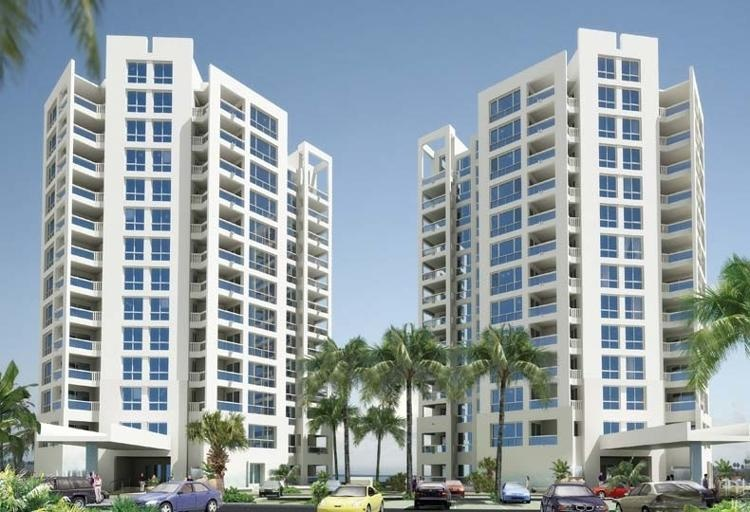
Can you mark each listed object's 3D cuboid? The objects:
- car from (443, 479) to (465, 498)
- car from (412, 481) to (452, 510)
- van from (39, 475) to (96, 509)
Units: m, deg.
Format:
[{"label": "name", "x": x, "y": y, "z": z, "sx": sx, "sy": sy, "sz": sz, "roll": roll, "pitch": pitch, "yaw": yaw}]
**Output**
[{"label": "car", "x": 8.364, "y": 23.801, "z": 94.879, "sx": 2.105, "sy": 1.833, "sz": 5.329, "roll": -1, "pitch": -15, "yaw": 4}, {"label": "car", "x": 4.694, "y": 19.954, "z": 76.175, "sx": 2.824, "sy": 2.370, "sz": 2.614, "roll": -1, "pitch": -19, "yaw": 1}, {"label": "van", "x": -25.898, "y": 20.096, "z": 78.349, "sx": 2.240, "sy": 2.391, "sz": 3.723, "roll": -18, "pitch": -26, "yaw": 42}]
